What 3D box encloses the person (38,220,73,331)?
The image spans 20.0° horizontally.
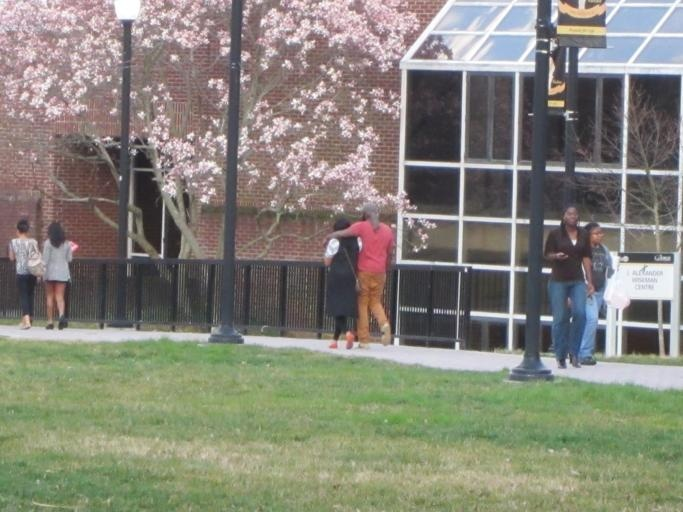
[{"bbox_3d":[-5.529,0.408,38.003,0.619,2.048,0.610,-1,5,-31],"label":"person"}]

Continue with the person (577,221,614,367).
[{"bbox_3d":[4.523,0.680,35.703,0.758,2.676,0.905,5,4,41],"label":"person"}]

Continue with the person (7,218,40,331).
[{"bbox_3d":[-6.109,0.353,37.990,0.652,2.155,0.571,-3,6,-37],"label":"person"}]

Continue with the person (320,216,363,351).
[{"bbox_3d":[0.003,0.684,35.975,0.625,2.057,0.480,1,-4,-1],"label":"person"}]
